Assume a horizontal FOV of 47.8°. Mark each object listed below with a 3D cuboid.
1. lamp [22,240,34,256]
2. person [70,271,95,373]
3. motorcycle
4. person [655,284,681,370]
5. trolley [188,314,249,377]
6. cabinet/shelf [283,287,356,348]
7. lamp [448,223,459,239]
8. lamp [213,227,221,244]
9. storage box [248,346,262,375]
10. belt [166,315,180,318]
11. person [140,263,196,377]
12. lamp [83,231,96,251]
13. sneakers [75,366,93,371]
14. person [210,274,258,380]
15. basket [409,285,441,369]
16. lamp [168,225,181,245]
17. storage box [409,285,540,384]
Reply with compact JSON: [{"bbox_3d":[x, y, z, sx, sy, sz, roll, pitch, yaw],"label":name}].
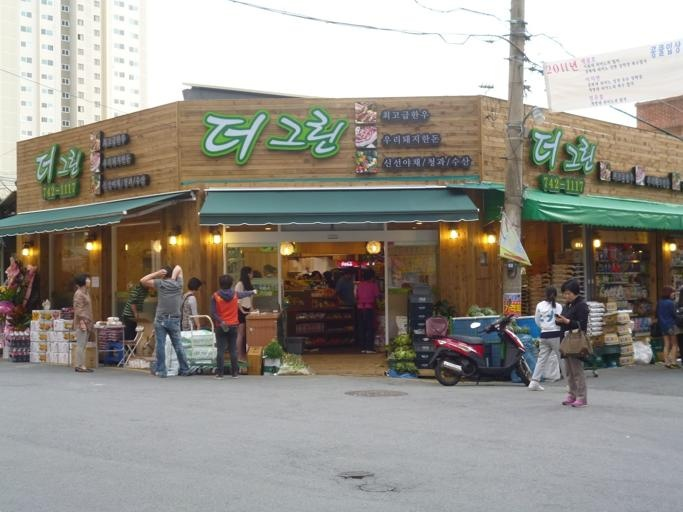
[{"bbox_3d":[-9.475,-0.232,23.412,0.487,0.514,0.155,-4,-7,18],"label":"lamp"},{"bbox_3d":[-5.925,1.549,17.724,0.378,2.229,0.621,0,-7,-17],"label":"person"},{"bbox_3d":[2.835,2.012,16.236,2.036,1.451,1.027,-2,-7,-1],"label":"motorcycle"},{"bbox_3d":[8.089,1.750,19.069,0.501,2.001,0.799,-4,-7,21],"label":"person"},{"bbox_3d":[-3.056,2.190,17.484,0.890,0.898,1.306,-14,-23,0],"label":"trolley"},{"bbox_3d":[-0.711,1.719,21.912,1.651,1.491,0.550,1,-6,-27],"label":"cabinet/shelf"},{"bbox_3d":[2.799,-0.596,19.238,0.283,0.390,0.090,-2,-7,-1],"label":"lamp"},{"bbox_3d":[-3.113,-0.481,19.321,0.249,0.411,0.139,1,-7,-22],"label":"lamp"},{"bbox_3d":[-1.878,2.360,17.512,0.433,0.578,0.775,0,5,3],"label":"storage box"},{"bbox_3d":[-3.637,1.323,16.734,0.071,0.076,0.263,-6,-8,31],"label":"belt"},{"bbox_3d":[-3.797,1.432,16.986,1.002,2.432,1.184,-1,-7,-9],"label":"person"},{"bbox_3d":[-7.137,-0.411,21.963,0.198,0.595,0.606,3,-9,-37],"label":"lamp"},{"bbox_3d":[-5.906,2.613,17.732,0.374,0.142,0.141,0,2,-6],"label":"sneakers"},{"bbox_3d":[-2.422,1.550,16.904,0.741,2.174,1.286,-1,-7,-5],"label":"person"},{"bbox_3d":[1.806,1.641,17.010,0.741,2.246,1.663,0,-3,2],"label":"basket"},{"bbox_3d":[-4.242,-0.509,19.499,0.466,0.527,0.185,-9,-10,44],"label":"lamp"},{"bbox_3d":[2.868,2.068,16.463,2.200,1.521,1.215,0,-9,-8],"label":"storage box"}]
